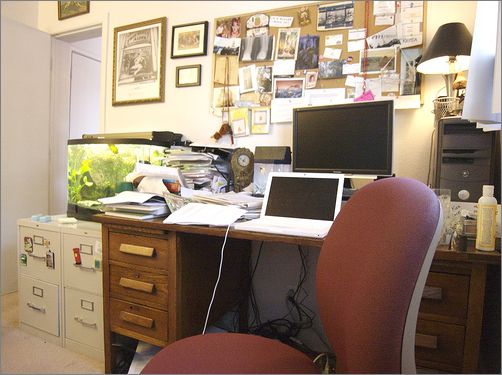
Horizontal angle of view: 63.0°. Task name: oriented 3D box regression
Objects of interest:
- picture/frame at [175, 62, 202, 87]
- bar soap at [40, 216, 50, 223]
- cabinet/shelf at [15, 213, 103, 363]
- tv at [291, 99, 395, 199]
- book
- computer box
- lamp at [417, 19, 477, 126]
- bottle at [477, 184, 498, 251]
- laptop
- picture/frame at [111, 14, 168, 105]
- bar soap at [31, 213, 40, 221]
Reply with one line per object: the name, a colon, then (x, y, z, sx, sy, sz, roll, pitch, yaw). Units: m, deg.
picture/frame: (-0.416, -0.753, 2.759, 0.169, 0.124, 0.019, 2, 2, 29)
bar soap: (-1.331, 0.205, 2.632, 0.046, 0.034, 0.047, -3, 1, 20)
cabinet/shelf: (-1.098, 0.591, 2.621, 0.871, 0.752, 0.339, 3, 4, 27)
tv: (0.464, -0.193, 2.039, 0.506, 0.463, 0.116, -1, -3, 26)
book: (-0.362, 0.023, 2.216, 0.450, 0.278, 0.640, 4, 2, 30)
computer box: (1.009, -0.133, 1.930, 0.282, 0.543, 0.382, 2, 3, 25)
lamp: (0.985, -0.594, 2.085, 0.246, 0.483, 0.290, 2, 9, 22)
bottle: (0.997, 0.122, 1.717, 0.074, 0.255, 0.161, 3, 10, 31)
laptop: (0.214, 0.059, 1.879, 0.360, 0.227, 0.333, 1, 4, 29)
picture/frame: (-0.785, -0.906, 2.924, 0.661, 0.769, 0.031, 1, 0, 28)
bar soap: (-1.413, 0.193, 2.664, 0.048, 0.033, 0.067, 1, 2, 3)
